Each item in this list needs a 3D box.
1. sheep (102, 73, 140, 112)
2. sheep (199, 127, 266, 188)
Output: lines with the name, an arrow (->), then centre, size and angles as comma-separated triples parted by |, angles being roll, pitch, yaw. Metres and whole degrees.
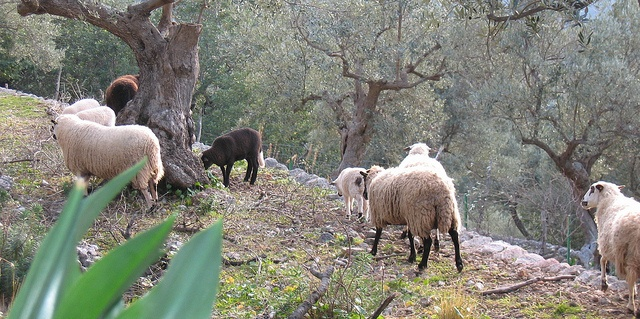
sheep -> -8.849, -2.953, 23.162 | 0.933, 1.469, 2.818 | 9, 31, -5
sheep -> -3.973, -0.132, 24.481 | 1.194, 2.699, 2.749 | 8, 1, 39
